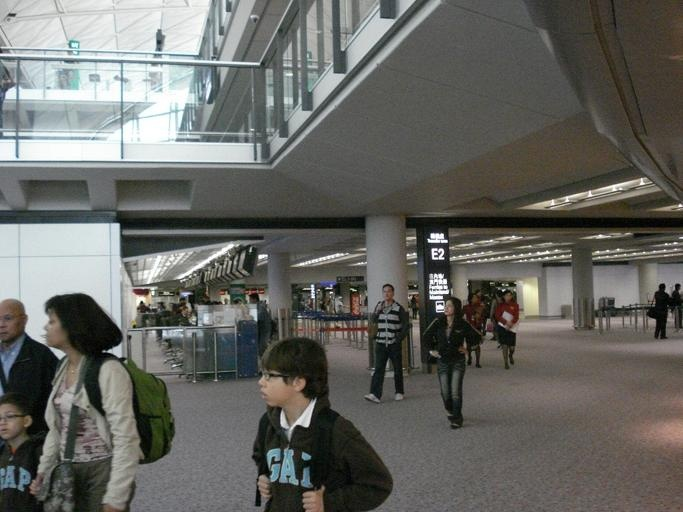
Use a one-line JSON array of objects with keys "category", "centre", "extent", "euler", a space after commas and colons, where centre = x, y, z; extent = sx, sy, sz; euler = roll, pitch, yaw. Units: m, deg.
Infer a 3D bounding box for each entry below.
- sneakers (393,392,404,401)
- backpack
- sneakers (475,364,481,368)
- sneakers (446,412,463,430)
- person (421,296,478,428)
[{"category": "sneakers", "centre": [1.143, 2.849, 10.903], "extent": [0.145, 0.114, 0.269], "euler": [-3, -10, 11]}, {"category": "backpack", "centre": [-1.295, 0.904, 3.468], "extent": [0.652, 0.712, 0.483], "euler": [-3, 2, -25]}, {"category": "sneakers", "centre": [3.944, 3.179, 15.536], "extent": [0.157, 0.137, 0.071], "euler": [-1, 2, -10]}, {"category": "sneakers", "centre": [1.777, 2.600, 8.447], "extent": [0.166, 0.246, 0.246], "euler": [-2, -10, 16]}, {"category": "person", "centre": [1.786, 1.689, 8.661], "extent": [0.856, 1.515, 0.621], "euler": [-2, -1, 13]}]
